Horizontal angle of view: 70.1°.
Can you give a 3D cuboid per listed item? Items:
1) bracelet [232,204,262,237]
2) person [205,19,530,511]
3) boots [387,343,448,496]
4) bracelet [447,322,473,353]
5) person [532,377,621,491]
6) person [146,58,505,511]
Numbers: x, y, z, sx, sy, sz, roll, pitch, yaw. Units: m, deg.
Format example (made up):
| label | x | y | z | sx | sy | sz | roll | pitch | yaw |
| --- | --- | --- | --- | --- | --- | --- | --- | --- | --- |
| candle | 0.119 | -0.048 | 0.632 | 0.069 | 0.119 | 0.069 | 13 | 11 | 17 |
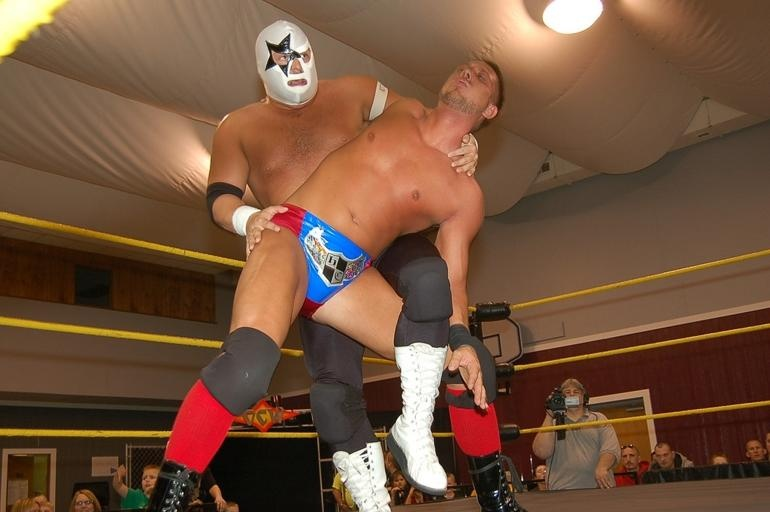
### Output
| label | x | y | z | sx | sy | sz | roll | pitch | yaw |
| --- | --- | --- | --- | --- | --- | --- | --- | --- | --- |
| bracelet | -0.585 | -0.155 | 2.301 | 0.120 | 0.092 | 0.118 | 39 | 3 | -17 |
| person | -0.306 | -0.136 | 2.769 | 1.144 | 2.542 | 1.126 | -8 | -28 | -37 |
| boots | 0.135 | 0.671 | 2.245 | 0.263 | 0.571 | 0.283 | -3 | -22 | 2 |
| bracelet | 0.329 | 0.370 | 2.428 | 0.077 | 0.056 | 0.130 | 10 | 0 | -20 |
| person | 1.598 | 1.471 | 4.655 | 0.679 | 0.919 | 1.199 | -8 | -23 | 12 |
| person | -0.158 | 0.024 | 2.348 | 1.389 | 1.889 | 0.463 | -1 | -22 | -5 |
